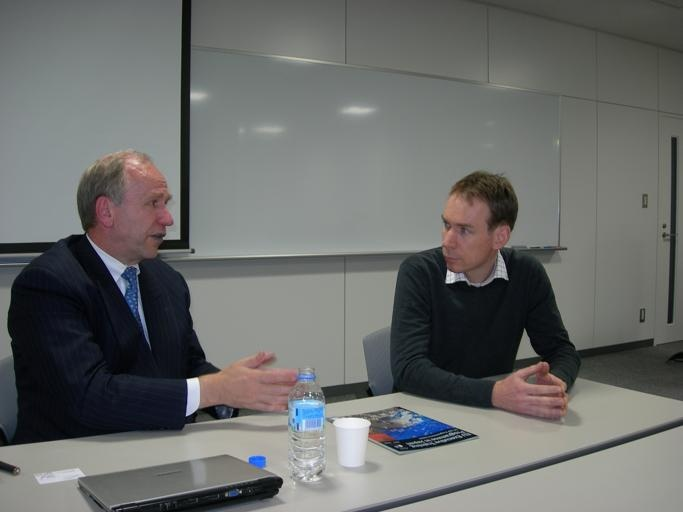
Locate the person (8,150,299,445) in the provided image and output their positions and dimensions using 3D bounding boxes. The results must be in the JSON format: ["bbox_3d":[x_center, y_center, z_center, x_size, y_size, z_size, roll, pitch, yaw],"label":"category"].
[{"bbox_3d":[-0.816,0.195,2.498,1.058,1.793,0.827,-6,-5,12],"label":"person"}]

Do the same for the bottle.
[{"bbox_3d":[-0.092,0.432,1.444,0.098,0.277,0.197,-2,4,-3],"label":"bottle"}]

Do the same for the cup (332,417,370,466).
[{"bbox_3d":[0.035,0.504,1.475,0.103,0.110,0.106,0,-6,0],"label":"cup"}]

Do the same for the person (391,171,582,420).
[{"bbox_3d":[0.557,0.191,2.118,0.627,0.990,0.837,-1,4,-29],"label":"person"}]
